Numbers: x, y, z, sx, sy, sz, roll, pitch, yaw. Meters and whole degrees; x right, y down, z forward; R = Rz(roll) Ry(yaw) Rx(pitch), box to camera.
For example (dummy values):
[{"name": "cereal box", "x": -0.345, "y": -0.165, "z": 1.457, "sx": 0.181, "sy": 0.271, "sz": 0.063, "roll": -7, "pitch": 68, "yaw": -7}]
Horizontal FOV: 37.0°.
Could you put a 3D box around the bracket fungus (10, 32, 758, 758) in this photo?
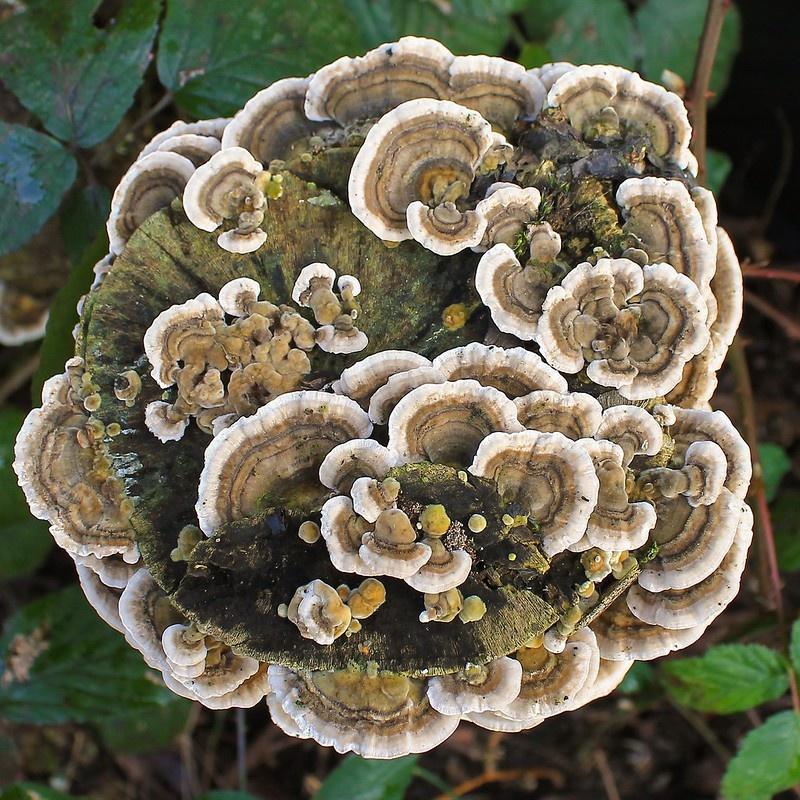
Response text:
[{"name": "bracket fungus", "x": 0.074, "y": 0.037, "z": 5.990, "sx": 3.399, "sy": 1.566, "sz": 3.394, "roll": 16, "pitch": 83, "yaw": 5}]
